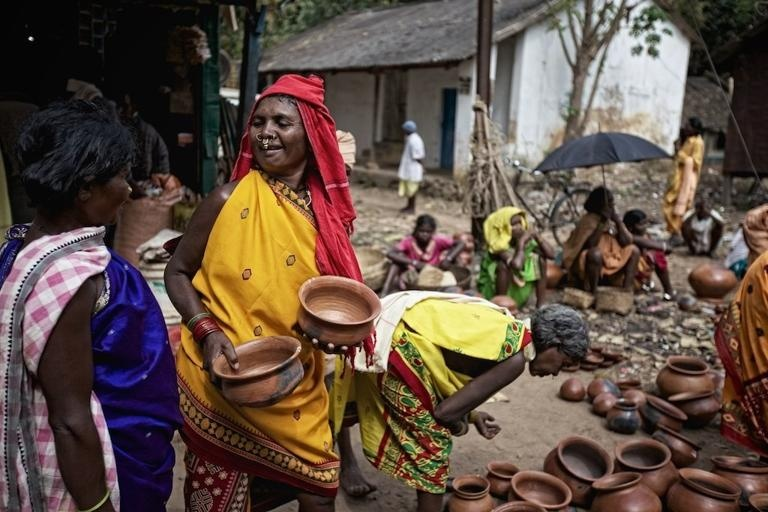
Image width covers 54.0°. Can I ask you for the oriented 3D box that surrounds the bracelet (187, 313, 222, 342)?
[{"bbox_3d":[-1.094,0.427,4.612,0.175,0.131,0.179,-29,-18,-35],"label":"bracelet"}]

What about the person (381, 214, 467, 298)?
[{"bbox_3d":[0.455,-0.014,9.198,1.070,0.936,0.383,-1,7,-34],"label":"person"}]

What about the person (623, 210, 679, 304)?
[{"bbox_3d":[3.145,0.026,8.964,0.697,1.245,0.487,-13,23,7],"label":"person"}]

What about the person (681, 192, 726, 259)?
[{"bbox_3d":[4.235,-0.388,10.041,0.543,0.866,0.436,5,23,29],"label":"person"}]

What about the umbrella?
[{"bbox_3d":[2.611,-0.959,8.904,1.074,0.715,1.105,-4,10,45],"label":"umbrella"}]

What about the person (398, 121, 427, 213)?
[{"bbox_3d":[0.447,-1.425,11.784,0.472,1.614,0.776,5,20,9],"label":"person"}]

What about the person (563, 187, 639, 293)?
[{"bbox_3d":[2.590,-0.155,8.957,0.858,1.312,0.813,9,18,41],"label":"person"}]

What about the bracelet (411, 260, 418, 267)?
[{"bbox_3d":[0.375,0.089,9.027,0.050,0.073,0.017,-18,-16,8],"label":"bracelet"}]

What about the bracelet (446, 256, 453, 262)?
[{"bbox_3d":[0.814,0.031,9.320,0.056,0.045,0.057,-2,5,-23],"label":"bracelet"}]
